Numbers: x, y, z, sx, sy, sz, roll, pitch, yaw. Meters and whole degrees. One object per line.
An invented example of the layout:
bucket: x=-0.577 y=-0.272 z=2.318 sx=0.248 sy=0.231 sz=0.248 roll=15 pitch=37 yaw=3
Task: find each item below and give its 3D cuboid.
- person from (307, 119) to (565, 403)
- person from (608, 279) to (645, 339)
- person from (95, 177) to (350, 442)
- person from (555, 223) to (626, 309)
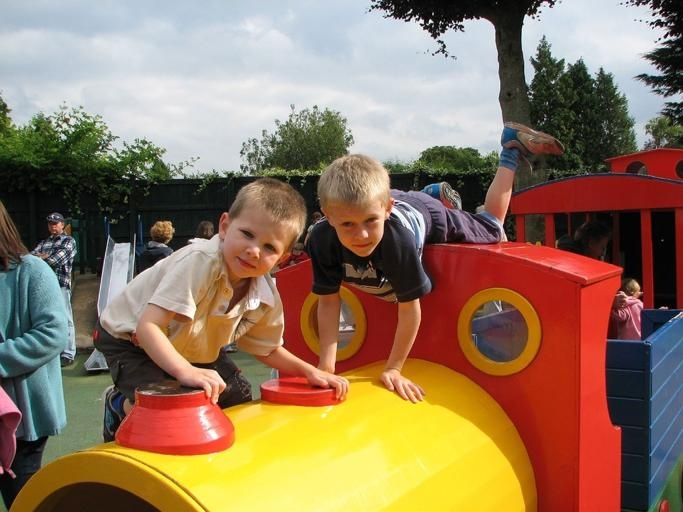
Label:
person: x=0.577 y=-0.178 z=3.523 sx=0.841 sy=1.280 sz=2.229 roll=2 pitch=8 yaw=34
person: x=2.250 y=0.466 z=4.813 sx=0.241 sy=0.424 sz=0.735 roll=1 pitch=7 yaw=27
person: x=-0.546 y=0.262 z=2.561 sx=0.848 sy=1.151 sz=0.911 roll=-5 pitch=7 yaw=-28
person: x=2.265 y=0.191 z=5.615 sx=0.500 sy=1.098 sz=0.448 roll=6 pitch=21 yaw=23
